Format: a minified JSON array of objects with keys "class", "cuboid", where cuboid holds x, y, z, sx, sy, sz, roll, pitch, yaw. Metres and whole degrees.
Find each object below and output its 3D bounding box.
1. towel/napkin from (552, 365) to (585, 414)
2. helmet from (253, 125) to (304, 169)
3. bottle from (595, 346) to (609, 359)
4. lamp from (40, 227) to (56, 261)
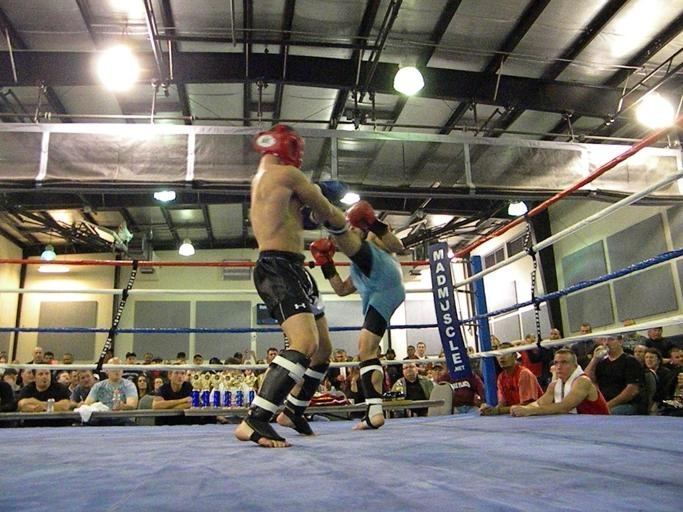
[{"class":"towel/napkin","cuboid":[1.653,0.922,3.675,0.224,0.253,0.314,-8,-16,18]},{"class":"helmet","cuboid":[-0.332,-0.608,2.783,0.311,0.196,0.264,13,19,27]},{"class":"bottle","cuboid":[2.794,1.038,5.434,0.121,0.056,0.146,-7,-4,23]},{"class":"lamp","cuboid":[-6.173,-0.082,10.654,0.203,0.598,1.225,7,-17,-29]}]
